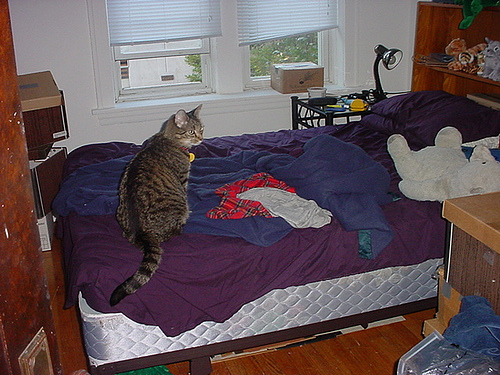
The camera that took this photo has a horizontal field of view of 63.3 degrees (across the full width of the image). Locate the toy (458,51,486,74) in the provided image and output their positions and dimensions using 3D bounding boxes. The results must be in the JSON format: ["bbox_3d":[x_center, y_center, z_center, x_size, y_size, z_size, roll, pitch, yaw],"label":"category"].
[{"bbox_3d":[1.283,-0.744,2.421,0.195,0.118,0.062,1,2,9],"label":"toy"}]

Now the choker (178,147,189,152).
[{"bbox_3d":[-0.354,-0.200,2.170,0.037,0.008,0.032,7,23,-21],"label":"choker"}]

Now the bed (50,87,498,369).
[{"bbox_3d":[0.321,0.347,2.149,2.455,0.618,1.267,-6,49,-9],"label":"bed"}]

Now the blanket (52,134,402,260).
[{"bbox_3d":[-0.087,0.151,2.045,1.441,0.311,0.756,-4,37,-2],"label":"blanket"}]

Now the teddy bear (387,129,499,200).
[{"bbox_3d":[0.868,-0.099,1.776,0.354,0.151,0.396,-15,20,-13],"label":"teddy bear"}]

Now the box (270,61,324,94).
[{"bbox_3d":[0.433,-1.019,3.789,0.464,0.268,0.261,-6,17,-2],"label":"box"}]
